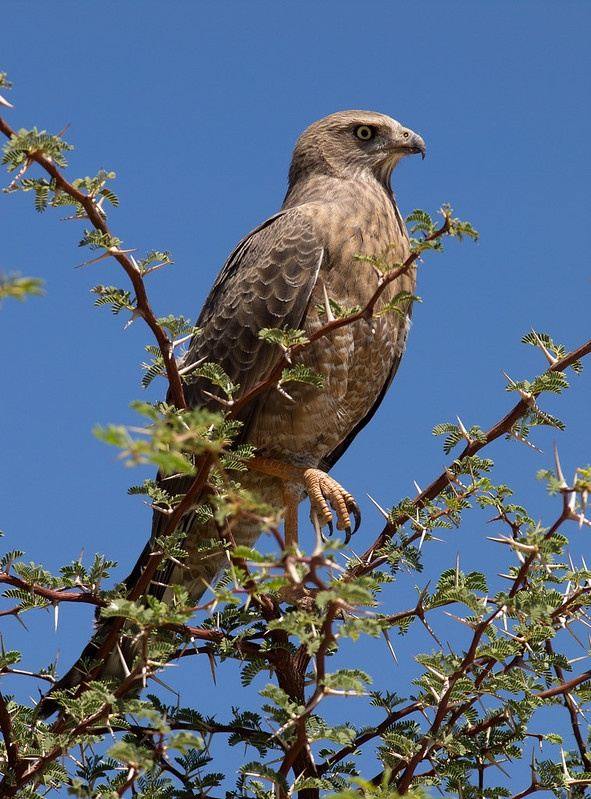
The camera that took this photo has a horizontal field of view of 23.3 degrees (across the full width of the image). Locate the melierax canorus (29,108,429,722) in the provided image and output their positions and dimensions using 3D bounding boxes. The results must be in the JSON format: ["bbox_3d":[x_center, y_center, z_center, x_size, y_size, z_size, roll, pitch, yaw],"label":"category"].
[{"bbox_3d":[-0.045,-0.003,5.113,0.955,3.198,1.443,13,-53,-4],"label":"melierax canorus"}]
